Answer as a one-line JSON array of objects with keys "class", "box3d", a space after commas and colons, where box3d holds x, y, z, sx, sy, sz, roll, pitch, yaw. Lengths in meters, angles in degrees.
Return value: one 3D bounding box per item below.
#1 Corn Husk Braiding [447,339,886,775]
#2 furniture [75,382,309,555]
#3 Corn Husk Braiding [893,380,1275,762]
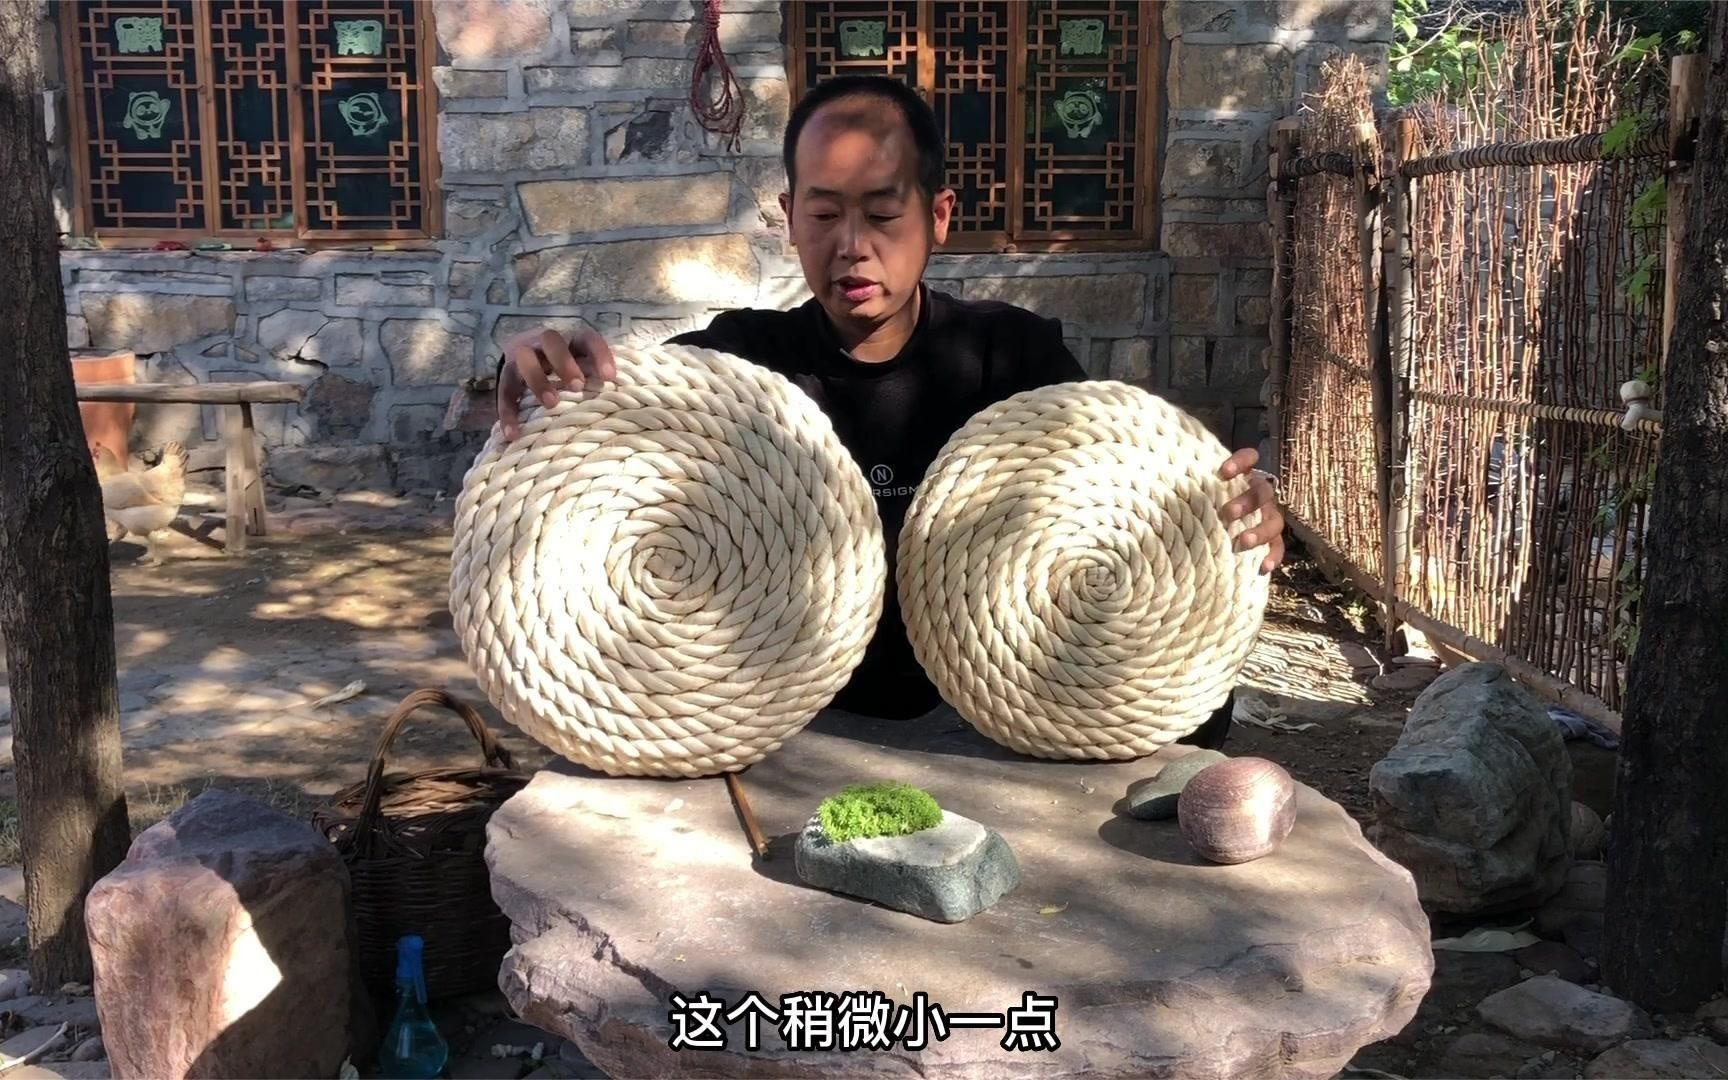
[{"class": "Corn Husk Braiding", "box3d": [-0.471, 0.062, 3.694, 0.298, 0.924, 0.970, -8, 32, 51]}, {"class": "furniture", "box3d": [-2.852, -0.342, 7.232, 0.823, 0.705, 0.477, -2, 12, -14]}, {"class": "Corn Husk Braiding", "box3d": [0.476, 0.062, 3.700, 0.810, 0.814, 0.224, 1, 12, 1]}]
